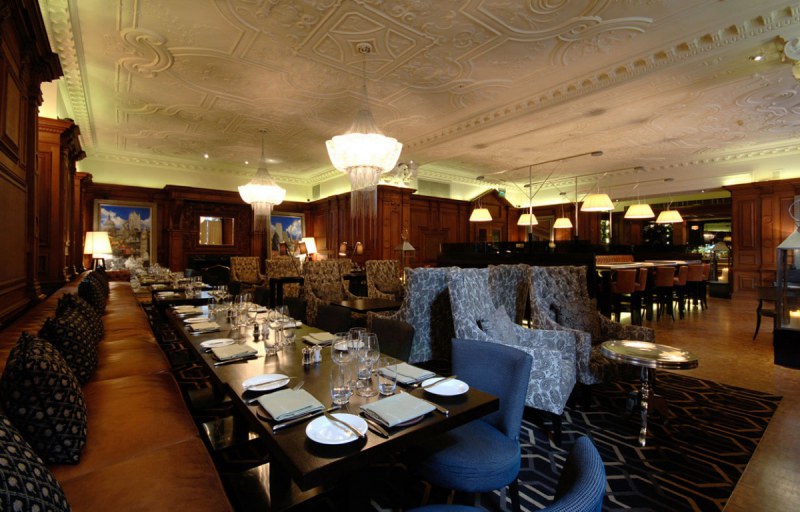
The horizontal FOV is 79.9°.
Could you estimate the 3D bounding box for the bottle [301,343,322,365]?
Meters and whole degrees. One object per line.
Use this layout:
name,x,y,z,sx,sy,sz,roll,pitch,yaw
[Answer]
bottle,-0.780,0.852,4.126,0.169,0.150,0.127,-2,5,-40

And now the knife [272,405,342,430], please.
knife,-0.693,1.182,3.461,0.520,0.039,0.057,-10,46,-20

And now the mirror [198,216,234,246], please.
mirror,-4.684,-0.661,12.014,0.786,0.713,0.303,0,4,-36

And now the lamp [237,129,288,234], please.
lamp,-2.638,-1.543,9.185,0.893,1.829,0.843,5,-8,-42

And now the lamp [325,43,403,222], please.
lamp,-0.501,-1.865,6.860,1.187,2.557,1.221,-3,-3,43

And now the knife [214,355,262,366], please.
knife,-1.399,0.877,4.077,0.368,0.054,0.135,-2,2,-16

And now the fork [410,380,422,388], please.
fork,0.127,1.015,3.764,0.088,0.037,0.023,-2,-22,-1

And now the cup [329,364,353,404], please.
cup,-0.448,0.972,3.657,0.171,0.303,0.187,-1,1,0

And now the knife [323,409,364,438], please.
knife,-0.404,1.215,3.420,0.268,0.046,0.037,25,38,22
